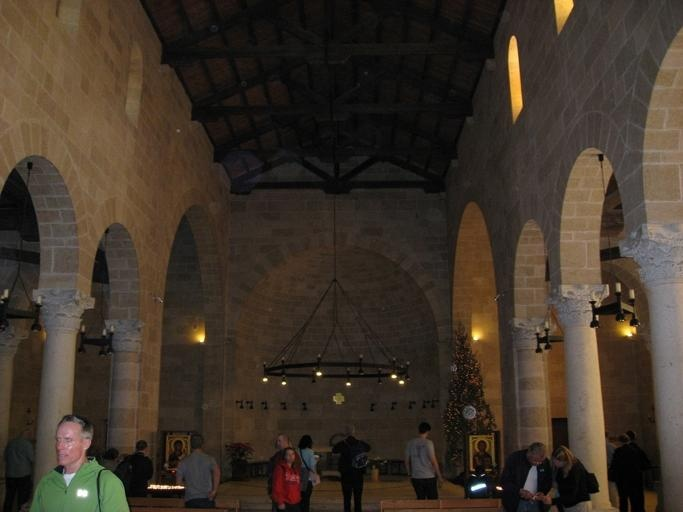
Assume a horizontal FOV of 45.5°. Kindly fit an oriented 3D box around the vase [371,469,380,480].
[{"bbox_3d":[0.990,6.339,23.562,0.206,0.339,0.620,-1,-16,4],"label":"vase"}]

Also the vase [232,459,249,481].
[{"bbox_3d":[-2.889,6.153,23.316,0.449,0.561,0.338,2,-16,-7],"label":"vase"}]

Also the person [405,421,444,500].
[{"bbox_3d":[1.542,3.844,15.350,0.651,1.388,0.574,-1,-16,4],"label":"person"}]

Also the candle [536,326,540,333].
[{"bbox_3d":[4.108,1.559,16.999,0.094,0.155,0.054,3,-16,-11],"label":"candle"}]

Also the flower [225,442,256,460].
[{"bbox_3d":[-2.975,5.678,23.689,0.755,0.528,1.069,2,-17,-8],"label":"flower"}]

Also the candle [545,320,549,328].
[{"bbox_3d":[4.084,1.370,16.174,0.096,0.179,0.196,-1,-14,10],"label":"candle"}]

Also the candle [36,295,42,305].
[{"bbox_3d":[-5.318,0.799,14.346,0.111,0.189,0.166,6,-17,-21],"label":"candle"}]
